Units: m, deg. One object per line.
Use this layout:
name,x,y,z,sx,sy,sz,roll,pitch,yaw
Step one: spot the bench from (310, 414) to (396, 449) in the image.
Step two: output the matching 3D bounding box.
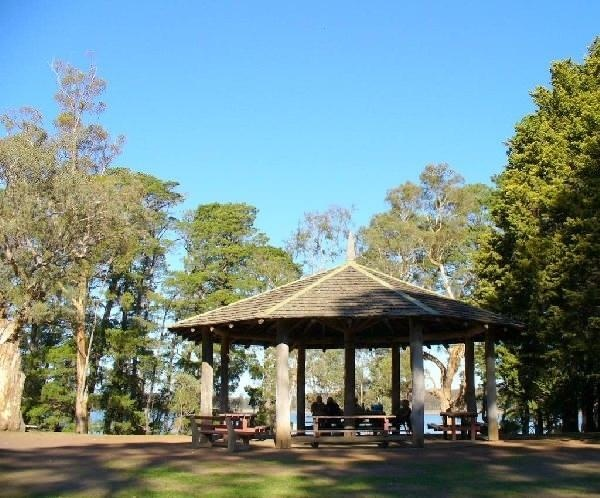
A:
bench,1.691,5.951,20.714,2.667,1.021,7.778,-1,-18,1

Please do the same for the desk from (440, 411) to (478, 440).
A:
desk,5.020,5.425,19.802,0.935,0.874,1.346,0,-5,4
